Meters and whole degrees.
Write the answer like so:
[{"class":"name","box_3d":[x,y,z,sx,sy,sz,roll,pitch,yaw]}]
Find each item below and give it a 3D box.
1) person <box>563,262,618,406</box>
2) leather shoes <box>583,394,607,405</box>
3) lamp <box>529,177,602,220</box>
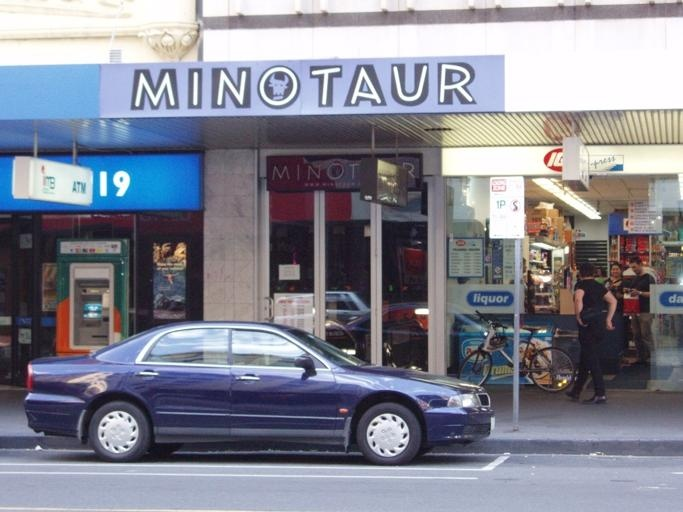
[{"class":"person","box_3d":[4.297,1.326,19.703,0.728,2.380,1.444,-3,-7,17]},{"class":"leather shoes","box_3d":[4.224,2.404,19.193,0.347,0.149,0.165,1,-2,10]},{"class":"lamp","box_3d":[4.055,-0.999,20.681,1.336,0.658,0.548,5,-9,-38]}]
